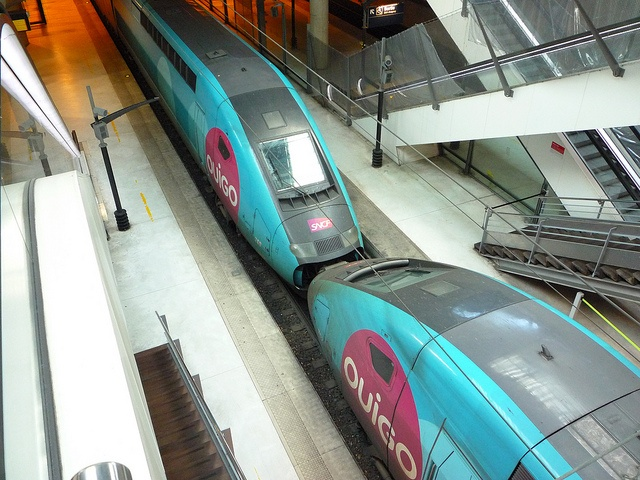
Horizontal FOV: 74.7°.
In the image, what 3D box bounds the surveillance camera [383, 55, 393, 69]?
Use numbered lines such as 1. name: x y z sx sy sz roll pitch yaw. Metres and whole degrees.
1. surveillance camera: 2.296 -6.072 14.297 0.401 0.433 0.100 -13 18 -29
